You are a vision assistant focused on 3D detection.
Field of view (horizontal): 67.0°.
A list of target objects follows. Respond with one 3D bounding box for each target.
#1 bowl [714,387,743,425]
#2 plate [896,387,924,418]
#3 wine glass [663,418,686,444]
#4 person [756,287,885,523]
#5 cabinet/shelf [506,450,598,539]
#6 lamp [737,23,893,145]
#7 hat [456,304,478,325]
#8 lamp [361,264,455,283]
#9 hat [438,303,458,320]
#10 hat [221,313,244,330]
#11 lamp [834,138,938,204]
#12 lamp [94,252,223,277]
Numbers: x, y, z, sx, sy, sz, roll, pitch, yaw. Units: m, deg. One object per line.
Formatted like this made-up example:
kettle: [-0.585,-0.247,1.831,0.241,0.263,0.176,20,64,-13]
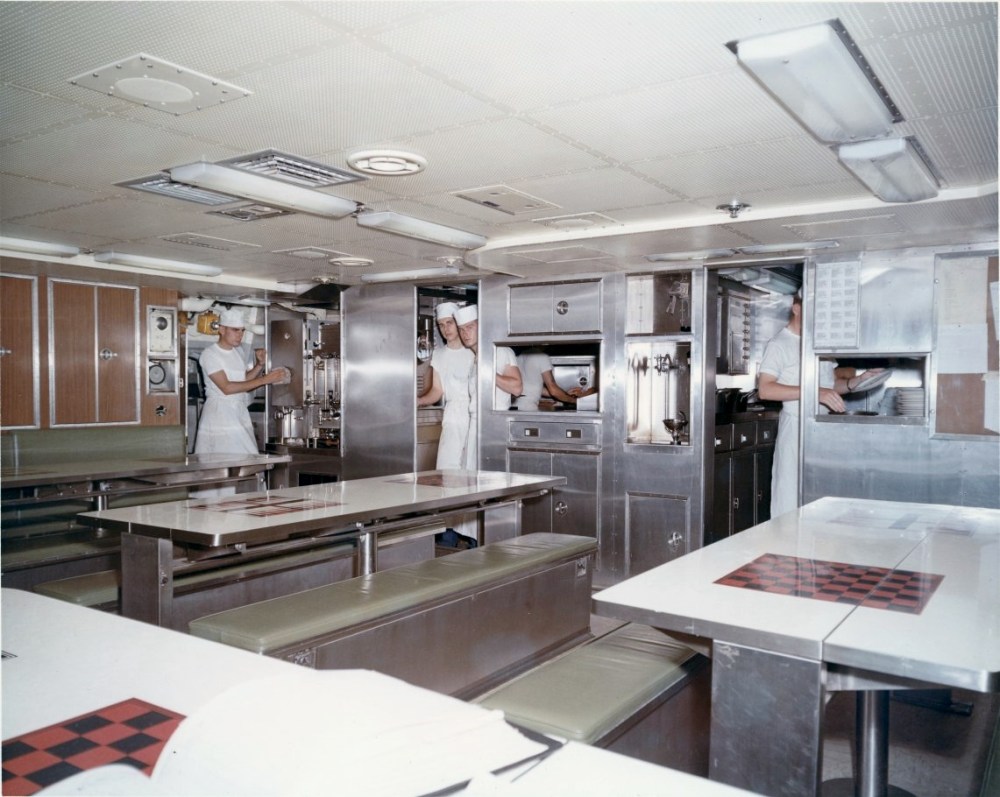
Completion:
bowl: [2.017,0.073,6.724,0.116,0.305,0.717,0,3,26]
plate: [3.097,0.027,5.725,0.076,0.199,0.243,2,3,-19]
wine glass: [1.461,0.266,6.345,0.088,0.233,0.223,-7,6,-44]
person: [2.407,0.047,6.002,0.656,1.831,0.786,-5,5,-30]
cabinet/shelf: [0.460,0.817,6.210,1.020,0.752,0.316,0,-4,13]
lamp: [1.292,-1.196,2.984,0.340,0.082,1.018,1,-3,40]
hat: [-0.327,-0.814,7.339,0.229,0.127,0.198,0,-2,8]
lamp: [-0.881,-1.208,7.405,1.225,0.092,0.235,1,4,34]
hat: [-0.528,-0.859,7.466,0.203,0.118,0.184,2,6,21]
hat: [-2.705,-0.800,7.624,0.201,0.198,0.166,-4,4,-27]
lamp: [1.916,-1.090,3.688,0.331,0.073,0.635,-6,-15,44]
lamp: [-3.047,-1.190,6.772,0.401,0.114,1.111,0,3,31]
